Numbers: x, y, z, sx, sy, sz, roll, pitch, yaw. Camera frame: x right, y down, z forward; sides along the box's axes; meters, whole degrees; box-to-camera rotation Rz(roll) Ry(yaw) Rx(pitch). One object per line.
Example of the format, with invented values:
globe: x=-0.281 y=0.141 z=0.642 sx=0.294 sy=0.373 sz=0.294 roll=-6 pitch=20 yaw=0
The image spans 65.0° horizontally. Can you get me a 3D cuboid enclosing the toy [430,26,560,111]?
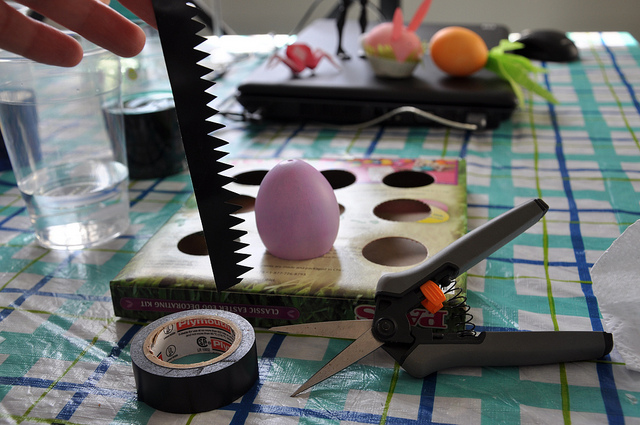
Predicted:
toy: x=0.341 y=-0.289 z=0.960 sx=0.282 sy=0.091 sz=0.072 roll=20 pitch=24 yaw=9

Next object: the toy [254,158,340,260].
toy: x=-0.032 y=-0.012 z=0.644 sx=0.108 sy=0.115 sz=0.112 roll=18 pitch=36 yaw=32

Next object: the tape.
tape: x=-0.121 y=0.143 z=0.486 sx=0.117 sy=0.053 sz=0.091 roll=-12 pitch=37 yaw=-18
